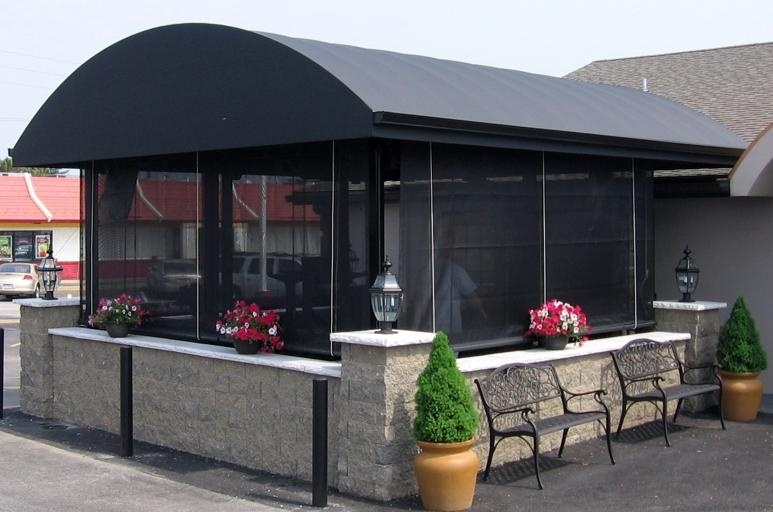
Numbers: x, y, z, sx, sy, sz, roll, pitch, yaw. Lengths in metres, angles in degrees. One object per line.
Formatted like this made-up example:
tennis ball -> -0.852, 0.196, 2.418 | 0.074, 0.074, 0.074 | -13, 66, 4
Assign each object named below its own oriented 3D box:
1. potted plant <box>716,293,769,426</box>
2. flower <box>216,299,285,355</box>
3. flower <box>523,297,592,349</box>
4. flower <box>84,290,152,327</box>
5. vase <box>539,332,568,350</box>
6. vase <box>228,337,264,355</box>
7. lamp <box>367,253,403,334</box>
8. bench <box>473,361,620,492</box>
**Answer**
potted plant -> 5.948, 1.713, 12.420 | 0.733, 2.029, 0.484 | 1, 4, 17
flower -> -1.966, 1.008, 10.669 | 0.763, 0.584, 0.765 | 4, 0, -42
flower -> 2.590, 0.983, 11.255 | 0.729, 0.616, 0.793 | -1, 1, 2
flower -> -4.426, 0.914, 12.301 | 0.973, 0.572, 0.461 | 3, 5, 33
vase -> 2.539, 1.257, 11.169 | 0.271, 0.182, 0.276 | 3, -4, -29
vase -> -1.995, 1.275, 10.521 | 0.268, 0.169, 0.281 | 1, -1, 7
lamp -> 0.018, 0.468, 9.313 | 0.478, 0.861, 0.465 | 0, 2, -45
bench -> 2.163, 2.192, 10.069 | 1.078, 1.448, 2.163 | -7, -6, 37
